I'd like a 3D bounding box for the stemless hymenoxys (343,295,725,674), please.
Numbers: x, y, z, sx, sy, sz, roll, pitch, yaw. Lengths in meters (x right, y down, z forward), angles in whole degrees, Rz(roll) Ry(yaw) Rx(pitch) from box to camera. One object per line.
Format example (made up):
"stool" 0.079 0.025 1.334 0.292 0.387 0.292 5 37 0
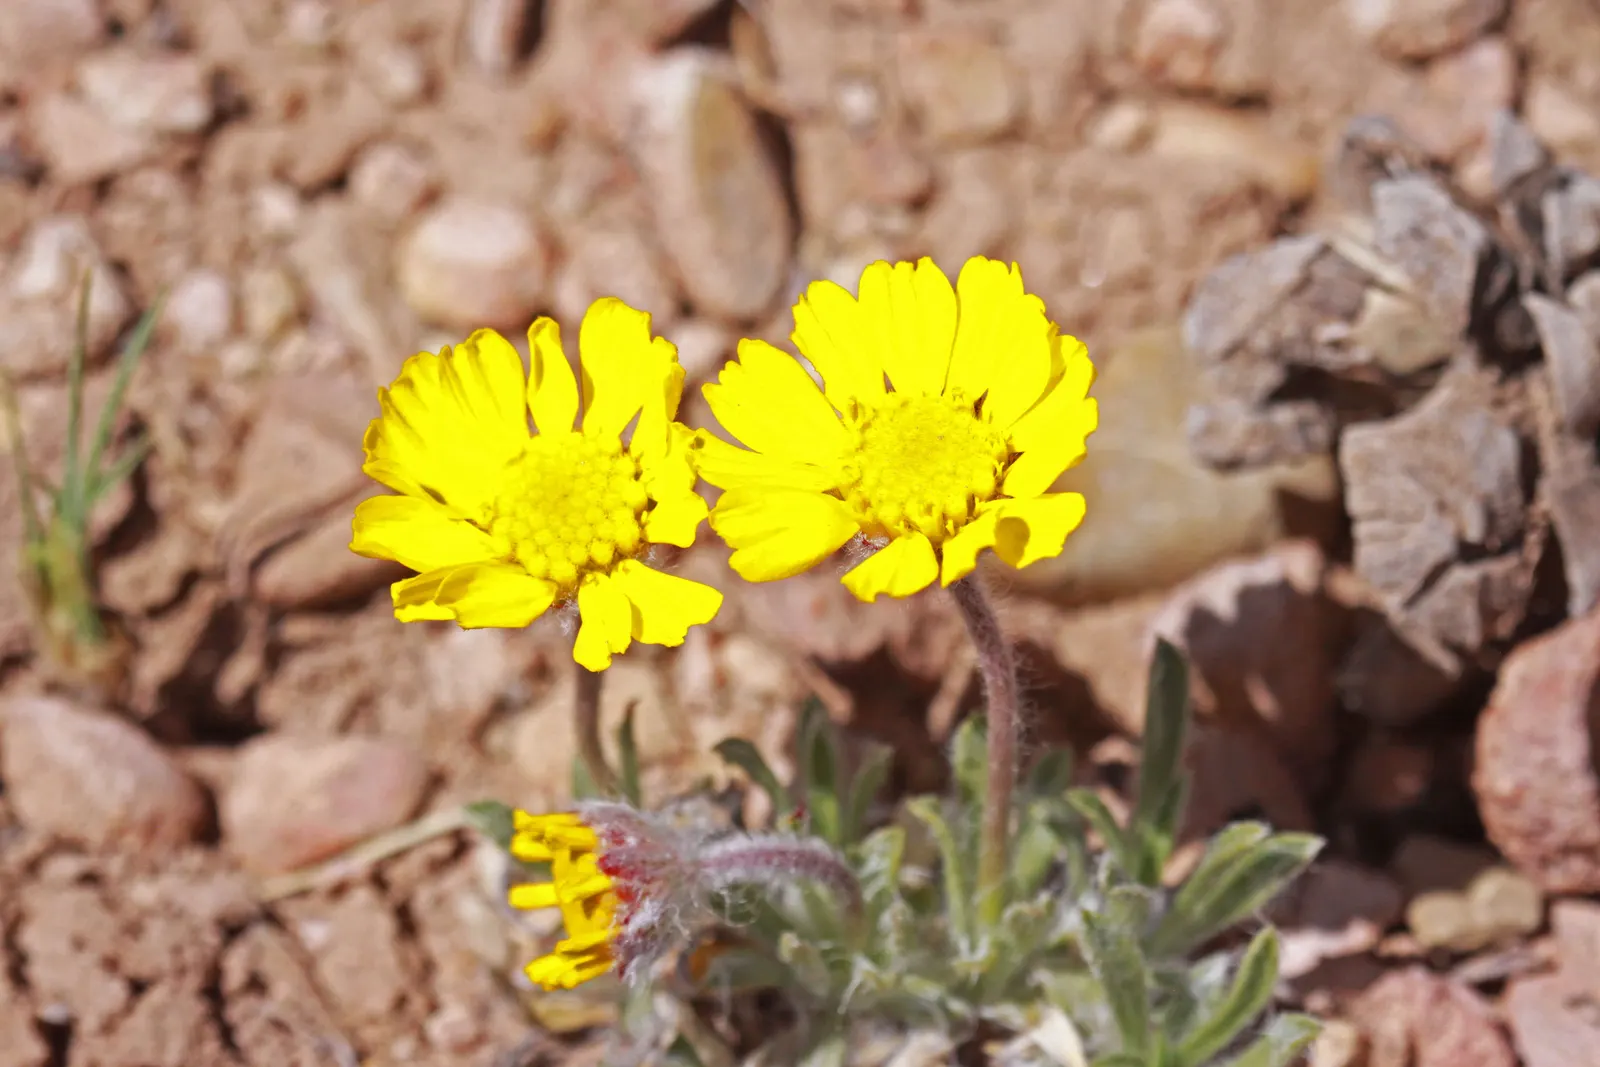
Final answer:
"stemless hymenoxys" -0.702 -0.120 6.067 0.942 0.401 0.980 2 80 13
